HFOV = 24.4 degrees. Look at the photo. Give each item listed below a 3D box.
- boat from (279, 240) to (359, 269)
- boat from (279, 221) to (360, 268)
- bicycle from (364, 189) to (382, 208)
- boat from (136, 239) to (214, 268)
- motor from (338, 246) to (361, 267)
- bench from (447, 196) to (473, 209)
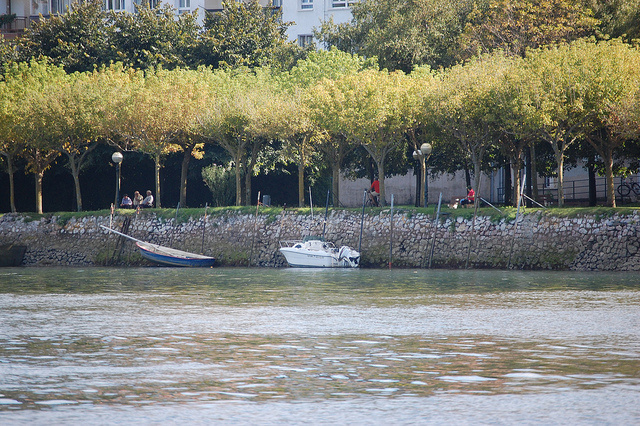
[{"bbox_3d":[0.150,3.131,113.422,5.261,1.855,2.475,4,-6,-2],"label":"boat"},{"bbox_3d":[-0.099,2.525,113.801,5.970,2.938,3.163,0,1,-7],"label":"boat"},{"bbox_3d":[4.405,-1.081,120.142,1.065,1.238,2.131,-4,12,-19],"label":"bicycle"},{"bbox_3d":[-11.337,3.135,115.713,5.827,1.985,1.978,-1,-2,0],"label":"boat"},{"bbox_3d":[2.399,3.237,112.813,1.741,0.984,0.862,17,7,-22],"label":"motor"},{"bbox_3d":[10.743,-0.839,118.707,1.432,0.895,1.451,-4,-9,45],"label":"bench"}]
